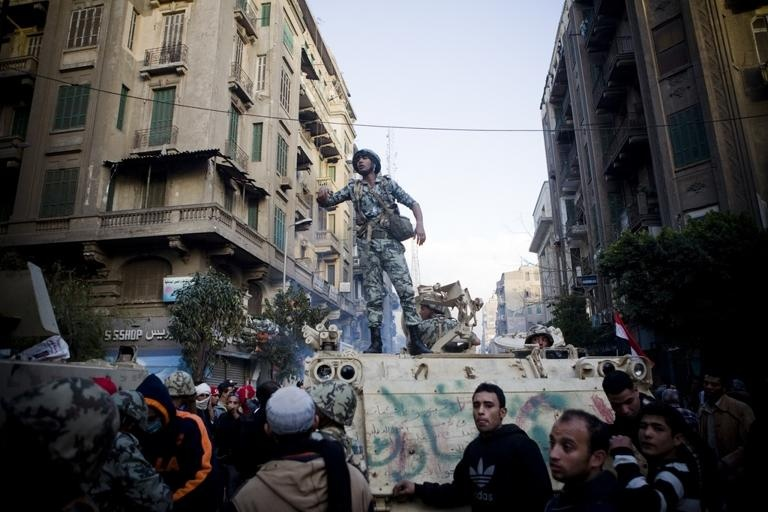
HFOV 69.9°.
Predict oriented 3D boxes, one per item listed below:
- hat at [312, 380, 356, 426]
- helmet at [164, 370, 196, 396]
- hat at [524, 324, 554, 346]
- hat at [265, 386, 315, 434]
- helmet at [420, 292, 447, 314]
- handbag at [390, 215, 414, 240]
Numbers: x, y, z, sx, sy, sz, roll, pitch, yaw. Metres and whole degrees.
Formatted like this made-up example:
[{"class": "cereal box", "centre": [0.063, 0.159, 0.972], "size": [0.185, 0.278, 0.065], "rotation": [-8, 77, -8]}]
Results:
[{"class": "hat", "centre": [-0.576, 1.589, 5.985], "size": [0.504, 0.478, 0.249], "rotation": [1, -12, -9]}, {"class": "helmet", "centre": [-2.566, 1.540, 6.829], "size": [0.262, 0.210, 0.378], "rotation": [1, 4, -30]}, {"class": "hat", "centre": [2.973, 1.532, 10.516], "size": [0.370, 0.412, 0.453], "rotation": [-4, -21, 9]}, {"class": "hat", "centre": [-0.953, 1.537, 5.508], "size": [0.470, 0.450, 0.257], "rotation": [2, -12, -12]}, {"class": "helmet", "centre": [0.960, 0.912, 10.988], "size": [0.466, 0.402, 0.347], "rotation": [12, -1, -9]}, {"class": "handbag", "centre": [0.313, -0.522, 10.053], "size": [0.464, 0.449, 0.241], "rotation": [0, -12, -3]}]
